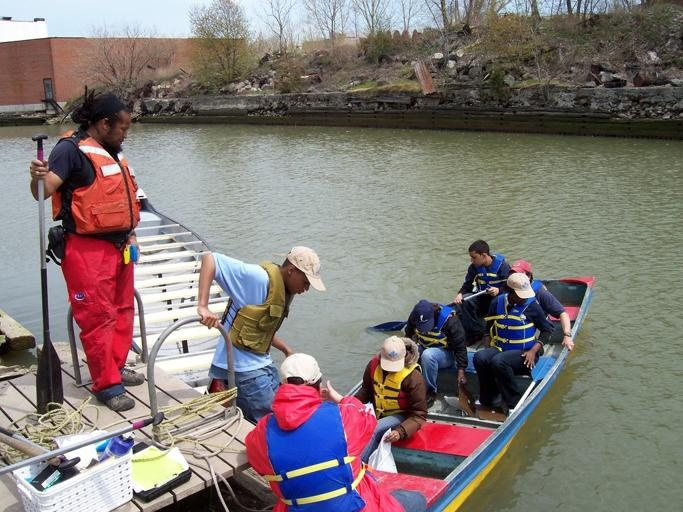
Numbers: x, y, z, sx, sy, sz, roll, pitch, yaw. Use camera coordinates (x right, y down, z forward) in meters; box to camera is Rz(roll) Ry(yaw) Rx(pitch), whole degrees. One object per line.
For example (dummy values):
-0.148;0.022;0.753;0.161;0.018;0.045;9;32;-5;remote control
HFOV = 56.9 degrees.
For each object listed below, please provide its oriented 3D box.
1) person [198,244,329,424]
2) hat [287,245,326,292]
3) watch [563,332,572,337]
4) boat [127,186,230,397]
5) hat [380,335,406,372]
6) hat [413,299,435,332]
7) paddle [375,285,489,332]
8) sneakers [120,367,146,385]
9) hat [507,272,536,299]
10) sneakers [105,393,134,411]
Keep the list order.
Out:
-0.825;0.921;5.492;1.112;1.862;0.920;8;-10;-42;person
-0.300;0.114;5.289;0.273;0.364;0.240;-5;13;-5;hat
2.743;0.956;7.571;0.073;0.017;0.070;2;6;41;watch
-2.516;0.330;9.404;1.352;0.745;5.725;-12;21;-12;boat
0.509;0.911;6.087;0.294;0.146;0.393;3;31;7;hat
0.968;0.682;7.410;0.283;0.211;0.376;1;55;15;hat
1.273;0.748;8.693;1.659;0.209;0.206;-15;51;-2;paddle
-1.851;1.061;5.556;0.261;0.098;0.096;6;14;15;sneakers
2.092;0.372;7.425;0.238;0.127;0.338;-35;61;-26;hat
-1.869;1.222;5.273;0.271;0.102;0.102;-9;20;36;sneakers
